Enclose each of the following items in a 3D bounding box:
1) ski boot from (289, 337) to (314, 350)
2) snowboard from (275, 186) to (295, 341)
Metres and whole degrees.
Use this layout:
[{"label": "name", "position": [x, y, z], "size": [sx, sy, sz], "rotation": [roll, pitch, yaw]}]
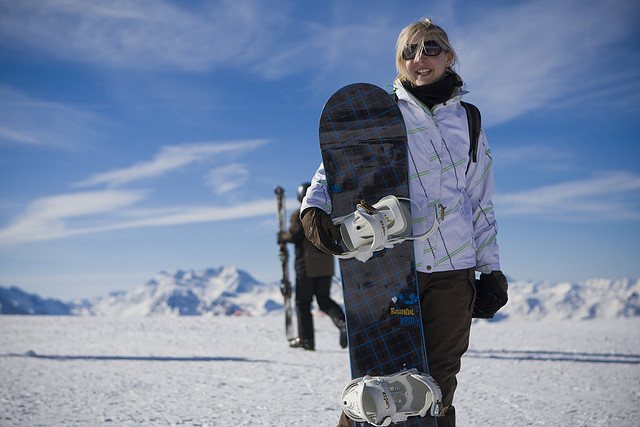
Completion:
[{"label": "ski boot", "position": [-0.324, 2.301, 12.736], "size": [0.529, 0.248, 0.202], "rotation": [4, 5, 44]}, {"label": "snowboard", "position": [-0.608, 1.099, 12.366], "size": [0.277, 3.428, 0.514], "rotation": [-6, -9, 38]}]
